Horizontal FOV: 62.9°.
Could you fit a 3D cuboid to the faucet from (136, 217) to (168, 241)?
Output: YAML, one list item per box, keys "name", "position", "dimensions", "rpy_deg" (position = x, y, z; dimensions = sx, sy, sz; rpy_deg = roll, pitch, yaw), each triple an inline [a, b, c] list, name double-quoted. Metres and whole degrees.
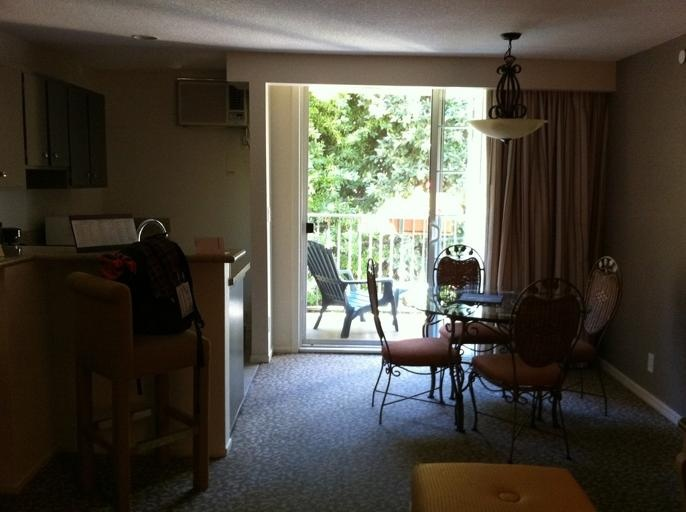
- name: "faucet"
  position: [-1.612, -0.225, 4.719]
  dimensions: [0.080, 0.202, 0.311]
  rpy_deg: [-18, -6, 40]

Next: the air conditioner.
- name: "air conditioner"
  position: [-1.343, -1.646, 5.822]
  dimensions: [0.762, 0.511, 0.395]
  rpy_deg: [-6, 37, -21]

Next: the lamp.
- name: "lamp"
  position: [1.268, -1.302, 4.272]
  dimensions: [0.494, 0.757, 0.508]
  rpy_deg: [8, 18, 34]
